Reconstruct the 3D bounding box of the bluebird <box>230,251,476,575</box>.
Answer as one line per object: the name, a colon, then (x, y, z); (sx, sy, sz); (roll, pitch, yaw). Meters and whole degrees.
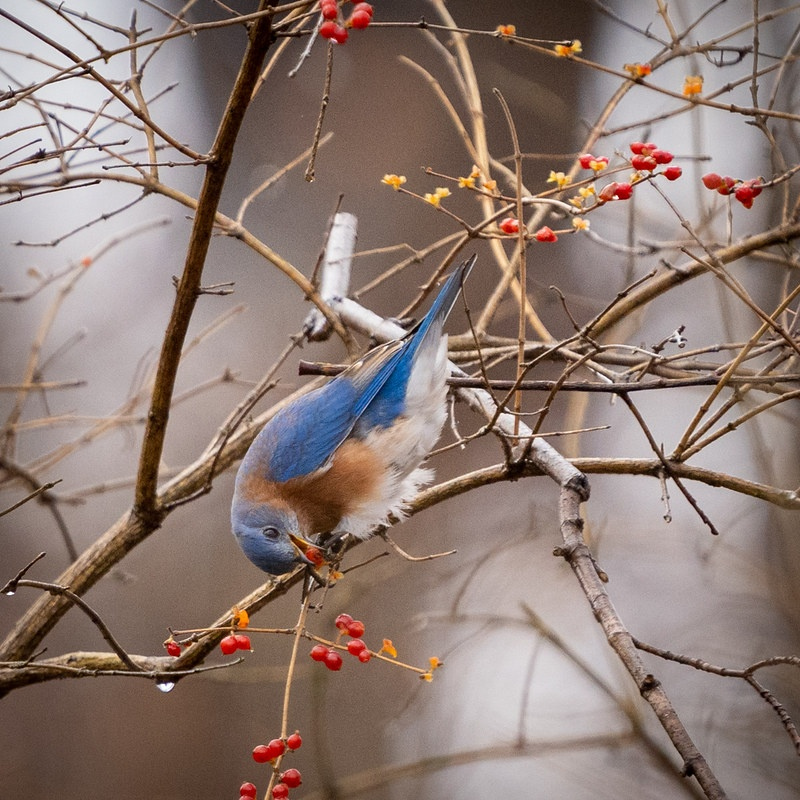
bluebird: (-0.171, 0.095, 4.744); (0.431, 0.612, 1.438); (40, -60, -10)
